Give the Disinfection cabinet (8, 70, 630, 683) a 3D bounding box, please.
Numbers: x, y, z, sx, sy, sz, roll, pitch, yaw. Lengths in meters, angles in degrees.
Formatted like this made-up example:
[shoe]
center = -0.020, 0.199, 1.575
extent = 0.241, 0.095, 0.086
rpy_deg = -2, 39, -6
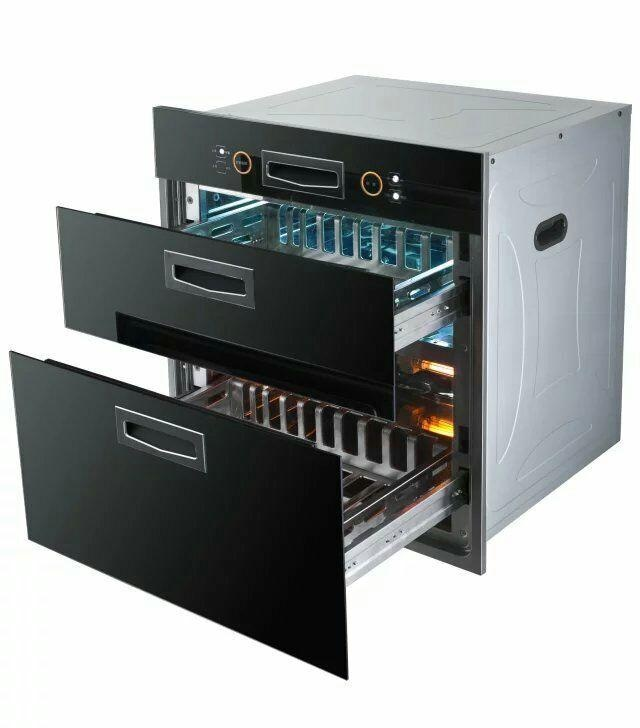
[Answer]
[Disinfection cabinet]
center = 0.043, -0.144, 1.588
extent = 0.858, 0.828, 1.163
rpy_deg = 16, 28, 34
